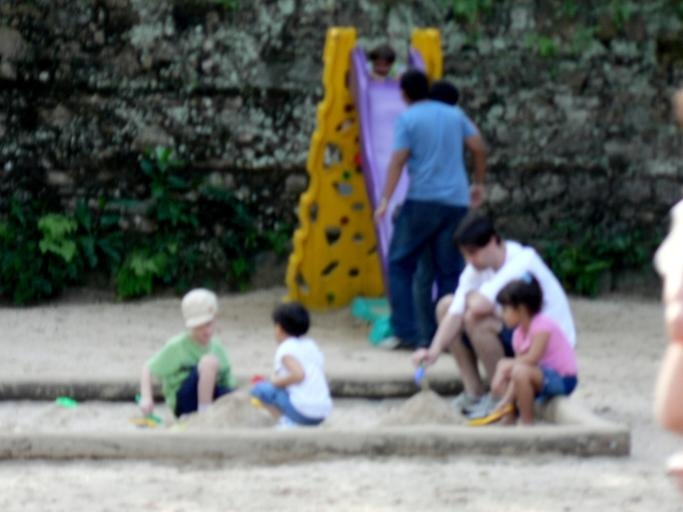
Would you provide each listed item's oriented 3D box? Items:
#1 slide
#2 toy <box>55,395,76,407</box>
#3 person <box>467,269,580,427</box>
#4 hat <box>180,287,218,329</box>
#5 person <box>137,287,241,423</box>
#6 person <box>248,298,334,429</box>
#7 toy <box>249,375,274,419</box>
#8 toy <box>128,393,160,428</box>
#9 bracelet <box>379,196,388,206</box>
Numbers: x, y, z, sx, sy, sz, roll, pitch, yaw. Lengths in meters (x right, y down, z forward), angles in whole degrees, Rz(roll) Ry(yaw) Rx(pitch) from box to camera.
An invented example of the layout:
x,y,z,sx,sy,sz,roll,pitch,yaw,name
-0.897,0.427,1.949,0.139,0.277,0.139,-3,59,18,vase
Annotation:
x,y,z,sx,sy,sz,roll,pitch,yaw,name
0.434,-0.898,15.570,0.473,2.498,0.657,-5,3,-6,slide
-2.075,1.084,14.294,0.107,0.039,0.081,8,15,-32,toy
1.362,0.680,13.792,0.684,1.034,0.296,1,6,9,person
-1.039,0.373,13.930,0.191,0.230,0.304,13,52,27,hat
-1.059,0.741,13.938,0.757,1.035,0.624,3,7,-11,person
-0.401,0.796,13.922,0.531,1.020,0.626,-3,11,-20,person
-0.637,1.001,14.165,0.172,0.103,0.265,-9,53,-23,toy
-1.447,1.112,14.017,0.162,0.275,0.090,-5,-3,-3,toy
0.333,-0.446,14.879,0.048,0.043,0.052,7,15,23,bracelet
